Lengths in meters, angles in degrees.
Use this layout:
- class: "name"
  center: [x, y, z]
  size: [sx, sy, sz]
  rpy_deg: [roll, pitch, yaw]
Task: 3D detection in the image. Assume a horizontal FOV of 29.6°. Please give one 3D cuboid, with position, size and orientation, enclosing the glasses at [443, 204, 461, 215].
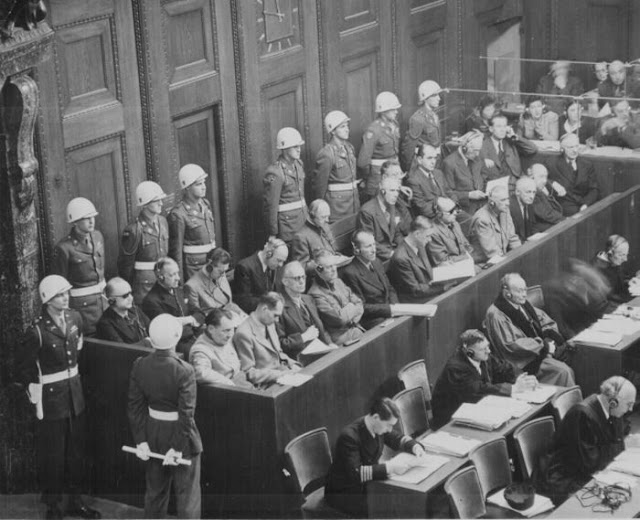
- class: "glasses"
  center: [0.747, -0.274, 6.969]
  size: [0.084, 0.052, 0.081]
  rpy_deg: [-16, 27, 9]

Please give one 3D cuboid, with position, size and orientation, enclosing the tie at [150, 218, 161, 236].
- class: "tie"
  center: [-0.812, -0.161, 5.983]
  size: [0.053, 0.074, 0.026]
  rpy_deg: [1, 1, -29]

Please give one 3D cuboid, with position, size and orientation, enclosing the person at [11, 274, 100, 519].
- class: "person"
  center: [-1.166, 0.599, 5.317]
  size: [0.295, 0.989, 0.224]
  rpy_deg: [-5, 2, -12]

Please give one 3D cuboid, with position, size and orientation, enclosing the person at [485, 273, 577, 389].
- class: "person"
  center: [1.139, 0.470, 6.513]
  size: [0.448, 0.782, 0.354]
  rpy_deg: [10, 28, 36]

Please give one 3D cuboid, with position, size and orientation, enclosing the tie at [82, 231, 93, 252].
- class: "tie"
  center: [-1.084, -0.084, 5.659]
  size: [0.017, 0.073, 0.051]
  rpy_deg: [3, 19, 24]

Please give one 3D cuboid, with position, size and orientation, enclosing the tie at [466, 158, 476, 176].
- class: "tie"
  center: [0.925, -0.588, 7.506]
  size: [0.054, 0.078, 0.019]
  rpy_deg: [-2, -5, -33]

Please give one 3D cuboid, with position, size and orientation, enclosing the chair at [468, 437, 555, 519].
- class: "chair"
  center: [0.868, 0.913, 5.222]
  size: [0.246, 0.392, 0.331]
  rpy_deg: [-23, 24, -38]

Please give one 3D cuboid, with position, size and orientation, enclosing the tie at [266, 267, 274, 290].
- class: "tie"
  center: [-0.259, 0.095, 6.225]
  size: [0.041, 0.098, 0.022]
  rpy_deg: [-4, 2, 24]

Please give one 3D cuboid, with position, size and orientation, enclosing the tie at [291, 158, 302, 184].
- class: "tie"
  center: [-0.130, -0.499, 6.697]
  size: [0.037, 0.103, 0.072]
  rpy_deg: [-1, 13, 39]

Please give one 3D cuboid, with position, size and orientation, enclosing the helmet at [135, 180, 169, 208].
- class: "helmet"
  center: [-0.829, -0.323, 5.930]
  size: [0.136, 0.104, 0.103]
  rpy_deg: [-1, 19, 16]

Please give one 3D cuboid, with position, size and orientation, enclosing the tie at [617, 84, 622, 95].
- class: "tie"
  center: [1.839, -1.059, 7.491]
  size: [0.036, 0.058, 0.062]
  rpy_deg: [-1, -1, 4]

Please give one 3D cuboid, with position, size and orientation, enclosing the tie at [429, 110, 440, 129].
- class: "tie"
  center: [0.687, -0.864, 7.348]
  size: [0.020, 0.083, 0.080]
  rpy_deg: [-1, -34, 18]

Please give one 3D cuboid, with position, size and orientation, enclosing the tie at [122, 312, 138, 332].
- class: "tie"
  center: [-0.875, 0.286, 5.597]
  size: [0.027, 0.092, 0.067]
  rpy_deg: [-22, 7, 38]

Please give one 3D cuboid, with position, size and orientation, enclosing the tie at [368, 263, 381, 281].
- class: "tie"
  center: [0.282, 0.061, 6.466]
  size: [0.057, 0.082, 0.020]
  rpy_deg: [-24, 10, -38]

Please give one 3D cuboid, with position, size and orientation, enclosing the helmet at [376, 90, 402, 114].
- class: "helmet"
  center: [0.374, -0.892, 6.799]
  size: [0.118, 0.077, 0.092]
  rpy_deg: [-3, 28, 17]

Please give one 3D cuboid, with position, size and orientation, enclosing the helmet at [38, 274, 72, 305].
- class: "helmet"
  center: [-1.165, 0.125, 5.259]
  size: [0.128, 0.092, 0.105]
  rpy_deg: [-6, 27, 20]

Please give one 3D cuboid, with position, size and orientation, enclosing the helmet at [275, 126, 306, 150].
- class: "helmet"
  center: [-0.162, -0.657, 6.495]
  size: [0.130, 0.077, 0.105]
  rpy_deg: [-3, 24, 26]

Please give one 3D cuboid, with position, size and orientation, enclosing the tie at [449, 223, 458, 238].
- class: "tie"
  center: [0.757, -0.175, 6.990]
  size: [0.048, 0.066, 0.023]
  rpy_deg: [-6, -7, -40]

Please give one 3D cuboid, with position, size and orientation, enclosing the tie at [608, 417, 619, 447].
- class: "tie"
  center: [1.291, 0.756, 5.354]
  size: [0.022, 0.098, 0.068]
  rpy_deg: [2, 4, 30]

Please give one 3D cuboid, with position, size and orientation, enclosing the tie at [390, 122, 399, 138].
- class: "tie"
  center: [0.427, -0.774, 7.119]
  size: [0.045, 0.061, 0.031]
  rpy_deg: [-25, 33, -30]

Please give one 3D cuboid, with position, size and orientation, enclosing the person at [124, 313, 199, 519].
- class: "person"
  center: [-0.634, 0.670, 5.090]
  size: [0.302, 0.766, 0.296]
  rpy_deg: [-4, 2, 20]

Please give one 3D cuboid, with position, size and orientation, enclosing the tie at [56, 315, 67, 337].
- class: "tie"
  center: [-1.124, 0.281, 5.270]
  size: [0.025, 0.098, 0.025]
  rpy_deg: [-6, 3, -26]

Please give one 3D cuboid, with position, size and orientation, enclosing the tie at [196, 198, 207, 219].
- class: "tie"
  center: [-0.619, -0.260, 6.283]
  size: [0.038, 0.076, 0.053]
  rpy_deg: [4, 6, 35]

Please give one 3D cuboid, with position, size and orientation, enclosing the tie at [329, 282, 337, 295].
- class: "tie"
  center: [0.057, 0.146, 6.214]
  size: [0.037, 0.051, 0.046]
  rpy_deg: [-2, 24, 0]

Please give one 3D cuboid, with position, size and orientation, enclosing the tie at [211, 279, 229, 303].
- class: "tie"
  center: [-0.514, 0.156, 6.120]
  size: [0.068, 0.135, 0.099]
  rpy_deg: [0, 9, 34]

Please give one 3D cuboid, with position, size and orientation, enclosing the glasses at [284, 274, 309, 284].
- class: "glasses"
  center: [-0.138, 0.092, 5.940]
  size: [0.106, 0.031, 0.046]
  rpy_deg: [-4, 2, 15]

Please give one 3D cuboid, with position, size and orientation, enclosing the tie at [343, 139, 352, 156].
- class: "tie"
  center: [0.157, -0.652, 6.930]
  size: [0.025, 0.080, 0.060]
  rpy_deg: [6, 24, 32]

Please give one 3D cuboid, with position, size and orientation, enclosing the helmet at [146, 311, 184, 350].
- class: "helmet"
  center: [-0.638, 0.291, 4.936]
  size: [0.117, 0.150, 0.076]
  rpy_deg: [-6, -28, 5]
